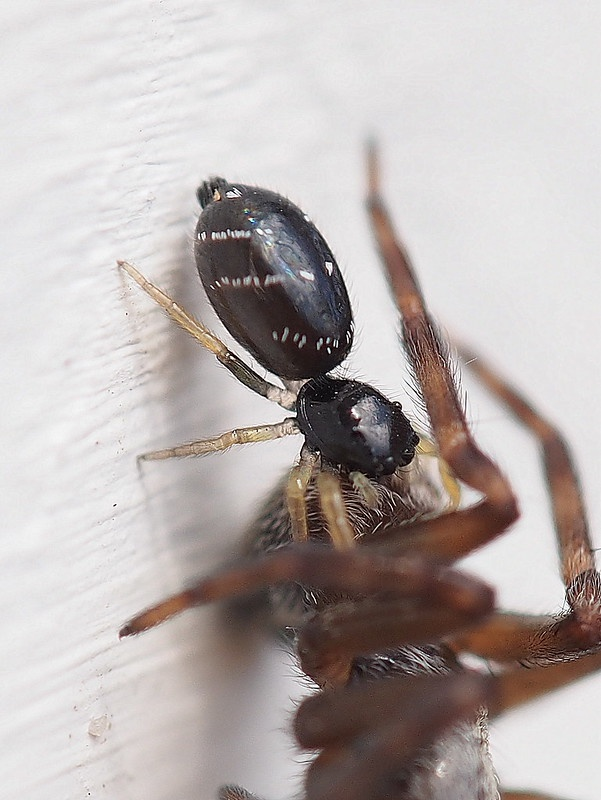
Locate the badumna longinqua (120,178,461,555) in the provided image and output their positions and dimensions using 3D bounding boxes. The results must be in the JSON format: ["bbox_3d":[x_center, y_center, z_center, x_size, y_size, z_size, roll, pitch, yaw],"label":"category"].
[{"bbox_3d":[-0.012,-0.011,0.574,0.172,0.077,0.223,-30,102,-22],"label":"badumna longinqua"}]
